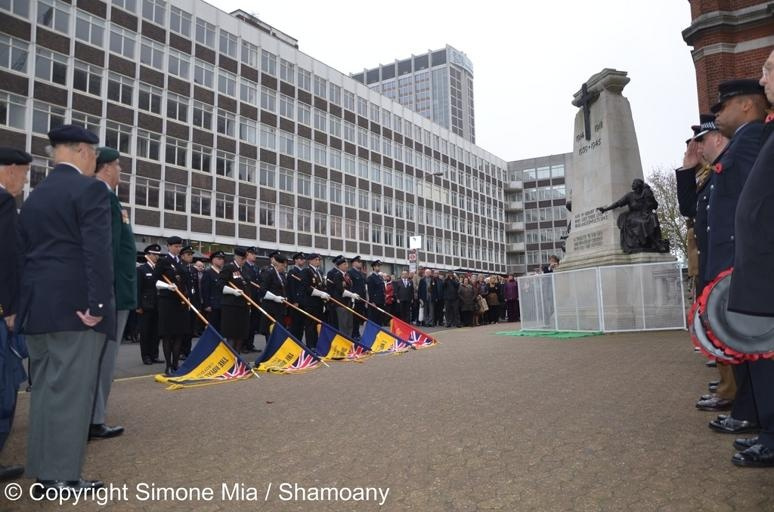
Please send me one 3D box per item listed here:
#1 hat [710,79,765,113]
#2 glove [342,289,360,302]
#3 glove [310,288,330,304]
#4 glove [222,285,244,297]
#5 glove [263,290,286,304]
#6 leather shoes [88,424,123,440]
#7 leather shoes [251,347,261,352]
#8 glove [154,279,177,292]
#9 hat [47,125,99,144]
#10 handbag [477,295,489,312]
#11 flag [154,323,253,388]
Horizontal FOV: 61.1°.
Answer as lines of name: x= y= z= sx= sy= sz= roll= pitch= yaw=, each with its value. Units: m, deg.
hat: x=4.042 y=-1.830 z=7.501 sx=0.438 sy=0.189 sz=0.350 roll=-6 pitch=5 yaw=22
glove: x=-1.098 y=1.134 z=18.764 sx=0.402 sy=0.382 sz=1.302 roll=-2 pitch=2 yaw=-3
glove: x=-1.798 y=1.011 z=17.436 sx=0.368 sy=0.328 sz=0.554 roll=-3 pitch=2 yaw=-33
glove: x=-3.500 y=0.779 z=14.648 sx=0.426 sy=0.276 sz=0.244 roll=-3 pitch=2 yaw=-16
glove: x=-2.830 y=1.033 z=16.299 sx=0.446 sy=0.237 sz=0.336 roll=9 pitch=-11 yaw=45
leather shoes: x=-3.665 y=2.260 z=8.419 sx=0.456 sy=0.199 sz=0.156 roll=1 pitch=0 yaw=-14
leather shoes: x=-3.532 y=2.482 z=17.432 sx=0.329 sy=0.147 sz=0.114 roll=0 pitch=-4 yaw=6
glove: x=-4.461 y=0.620 z=13.140 sx=0.360 sy=0.252 sz=0.121 roll=12 pitch=6 yaw=41
hat: x=-3.551 y=-1.349 z=7.367 sx=0.310 sy=0.143 sz=0.365 roll=-1 pitch=7 yaw=-7
handbag: x=4.346 y=2.172 z=30.074 sx=0.448 sy=0.830 sz=0.368 roll=-21 pitch=-28 yaw=-8
flag: x=-3.364 y=1.882 z=12.131 sx=1.227 sy=0.826 sz=1.241 roll=1 pitch=-5 yaw=-18
